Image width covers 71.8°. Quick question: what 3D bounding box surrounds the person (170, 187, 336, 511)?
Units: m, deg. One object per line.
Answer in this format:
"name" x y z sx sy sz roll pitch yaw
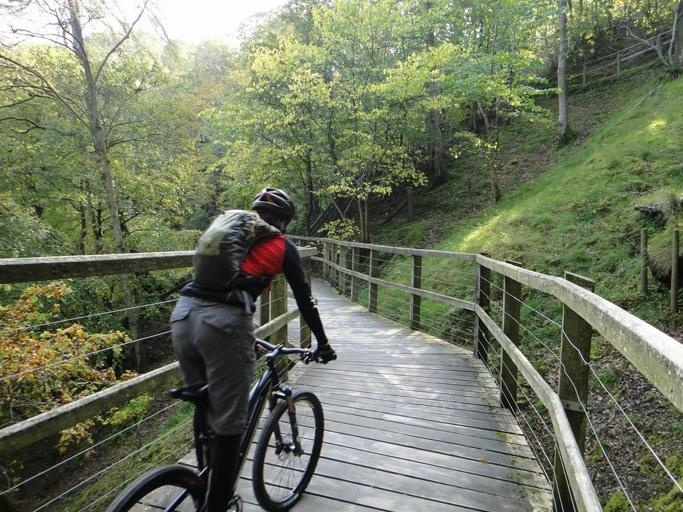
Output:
"person" -0.792 0.773 3.851 1.009 2.243 0.624 -11 17 -39

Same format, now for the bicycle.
"bicycle" -1.038 1.482 4.236 1.093 1.347 2.171 1 5 27
